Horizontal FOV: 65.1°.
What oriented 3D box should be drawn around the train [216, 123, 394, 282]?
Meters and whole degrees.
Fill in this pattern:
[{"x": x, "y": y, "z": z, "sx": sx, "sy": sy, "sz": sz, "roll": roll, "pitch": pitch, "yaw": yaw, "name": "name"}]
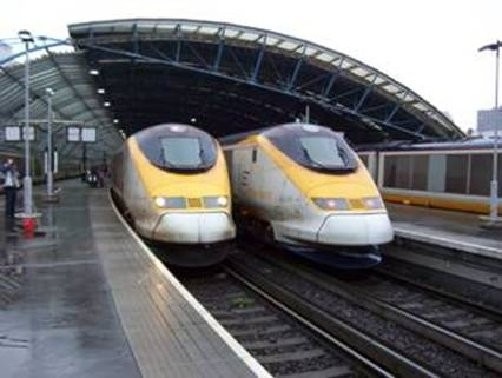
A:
[{"x": 1.601, "y": -0.010, "z": 11.908, "sx": 1.968, "sy": 4.088, "sz": 5.261, "roll": -3, "pitch": 6, "yaw": -30, "name": "train"}]
